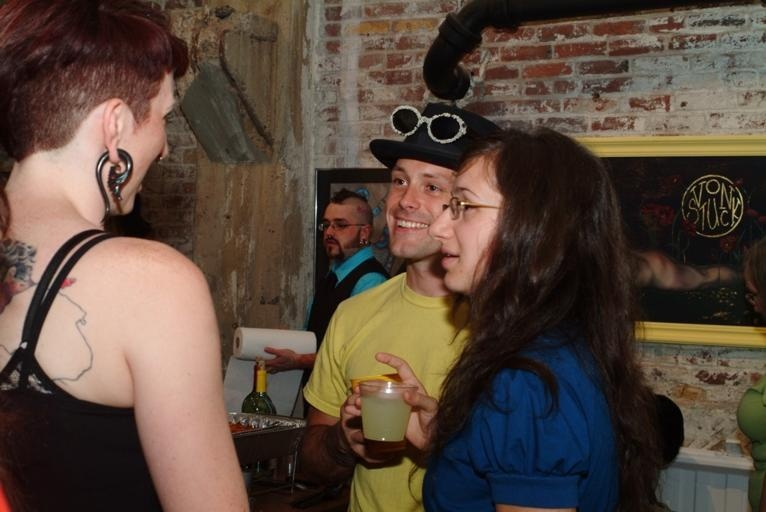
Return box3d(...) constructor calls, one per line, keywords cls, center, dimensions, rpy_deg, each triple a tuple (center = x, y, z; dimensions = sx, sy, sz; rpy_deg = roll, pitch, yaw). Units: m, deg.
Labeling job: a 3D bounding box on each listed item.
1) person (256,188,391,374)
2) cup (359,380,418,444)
box3d(cls="person", center=(-0.296, 0.239, 3.352), dimensions=(0.881, 1.111, 0.690), rpy_deg=(-2, 3, -19))
box3d(cls="cup", center=(-0.019, 0.368, 1.528), dimensions=(0.152, 0.113, 0.136), rpy_deg=(3, -4, 23))
